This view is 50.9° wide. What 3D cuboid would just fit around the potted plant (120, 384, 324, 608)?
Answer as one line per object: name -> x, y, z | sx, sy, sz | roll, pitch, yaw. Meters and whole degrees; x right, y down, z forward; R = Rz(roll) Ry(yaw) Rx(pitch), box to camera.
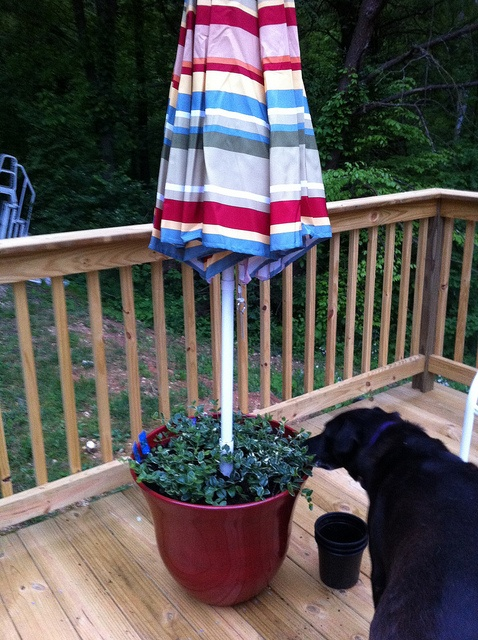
potted plant -> -0.053, 0.527, 1.416 | 0.394, 0.298, 0.401 | -2, 13, -13
